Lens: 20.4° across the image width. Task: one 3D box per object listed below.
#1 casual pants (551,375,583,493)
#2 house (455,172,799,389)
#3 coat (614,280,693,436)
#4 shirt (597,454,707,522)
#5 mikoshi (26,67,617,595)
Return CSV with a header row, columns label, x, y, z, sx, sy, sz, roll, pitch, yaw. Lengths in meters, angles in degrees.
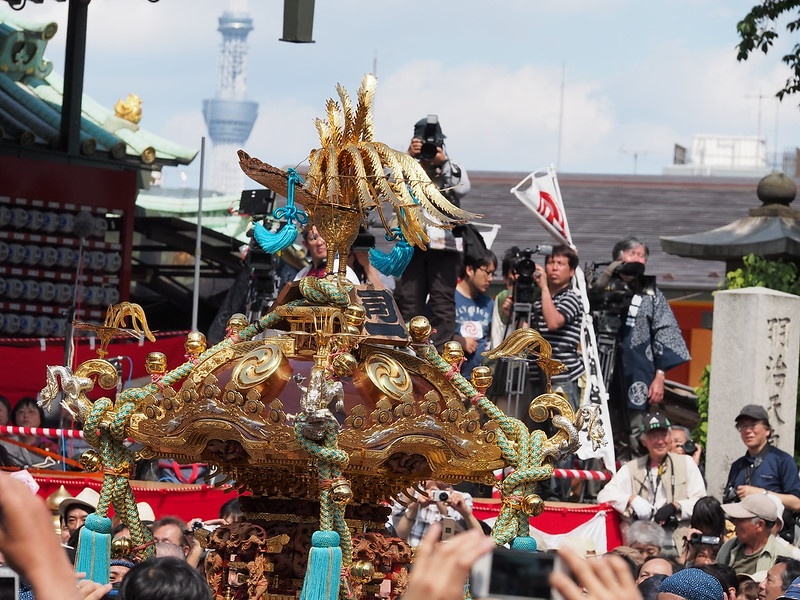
label,x,y,z,sx,sy,sz,roll,pitch,yaw
casual pants,1.712,1.447,22.574,0.286,1.022,0.692,6,-7,-6
house,3.976,-0.379,35.178,4.567,2.463,4.018,2,2,33
coat,2.730,0.641,24.127,0.681,1.944,1.524,8,-11,-3
shirt,2.501,1.806,21.677,1.010,1.024,0.623,-5,-12,9
mikoshi,-0.490,0.441,20.208,5.014,3.939,4.461,1,-5,5
